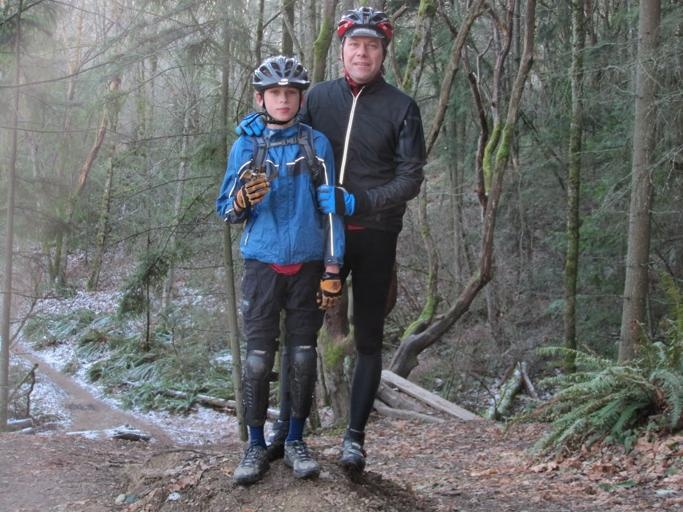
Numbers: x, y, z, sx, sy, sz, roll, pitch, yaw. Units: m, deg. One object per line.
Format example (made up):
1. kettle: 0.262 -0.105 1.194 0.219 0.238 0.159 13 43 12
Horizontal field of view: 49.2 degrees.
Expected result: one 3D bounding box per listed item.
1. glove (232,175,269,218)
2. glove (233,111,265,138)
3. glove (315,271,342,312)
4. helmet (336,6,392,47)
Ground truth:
1. glove: -0.977 -0.648 8.204 0.399 0.312 0.205 -41 -17 4
2. glove: -1.045 -1.441 8.349 0.277 0.128 0.242 -27 33 39
3. glove: -0.133 0.393 8.159 0.253 0.385 0.126 5 12 -16
4. helmet: 0.248 -2.586 8.441 0.360 0.313 0.554 4 19 -2
